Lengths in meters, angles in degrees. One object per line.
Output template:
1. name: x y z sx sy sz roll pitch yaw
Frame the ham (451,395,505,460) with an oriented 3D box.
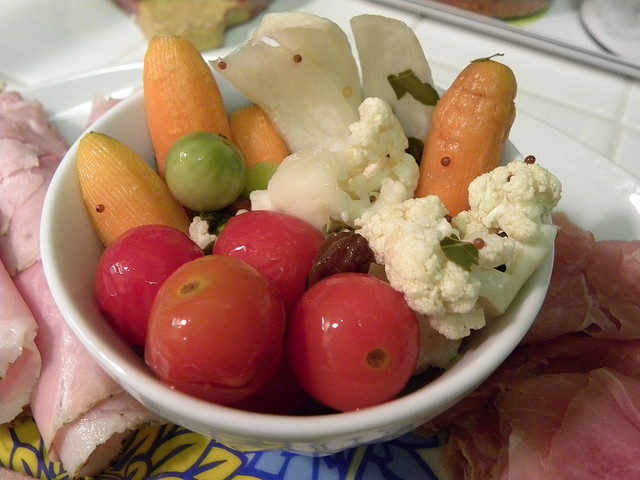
1. ham: 0.275 0.317 1.015 0.080 0.024 0.077 -20 48 1

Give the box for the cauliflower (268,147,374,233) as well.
1. cauliflower: -0.006 -0.106 0.989 0.180 0.118 0.111 -9 26 -14

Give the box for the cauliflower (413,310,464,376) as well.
1. cauliflower: 0.176 0.159 0.948 0.095 0.027 0.093 39 95 -2

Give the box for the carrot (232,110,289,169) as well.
1. carrot: -0.120 -0.191 1.116 0.087 0.040 0.135 9 52 -16

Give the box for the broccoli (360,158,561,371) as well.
1. broccoli: 0.219 0.011 0.964 0.290 0.170 0.322 8 39 2

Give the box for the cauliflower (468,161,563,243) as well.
1. cauliflower: 0.292 -0.061 0.907 0.124 0.062 0.126 13 72 19

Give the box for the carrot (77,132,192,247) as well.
1. carrot: -0.317 -0.061 1.022 0.255 0.091 0.142 58 34 0

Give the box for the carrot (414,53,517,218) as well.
1. carrot: 0.250 -0.162 1.033 0.103 0.312 0.105 5 16 -38

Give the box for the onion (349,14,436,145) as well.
1. onion: 0.132 -0.291 1.056 0.152 0.228 0.054 -9 19 25

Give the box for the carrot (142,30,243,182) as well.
1. carrot: -0.242 -0.232 1.089 0.155 0.114 0.338 -5 64 -22

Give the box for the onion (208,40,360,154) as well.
1. onion: -0.061 -0.272 1.110 0.270 0.173 0.082 27 12 -16

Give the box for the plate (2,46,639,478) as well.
1. plate: 0.018 0.074 1.336 0.857 0.914 1.210 -3 15 -9

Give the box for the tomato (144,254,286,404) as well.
1. tomato: -0.140 0.125 0.832 0.176 0.121 0.184 13 64 9
